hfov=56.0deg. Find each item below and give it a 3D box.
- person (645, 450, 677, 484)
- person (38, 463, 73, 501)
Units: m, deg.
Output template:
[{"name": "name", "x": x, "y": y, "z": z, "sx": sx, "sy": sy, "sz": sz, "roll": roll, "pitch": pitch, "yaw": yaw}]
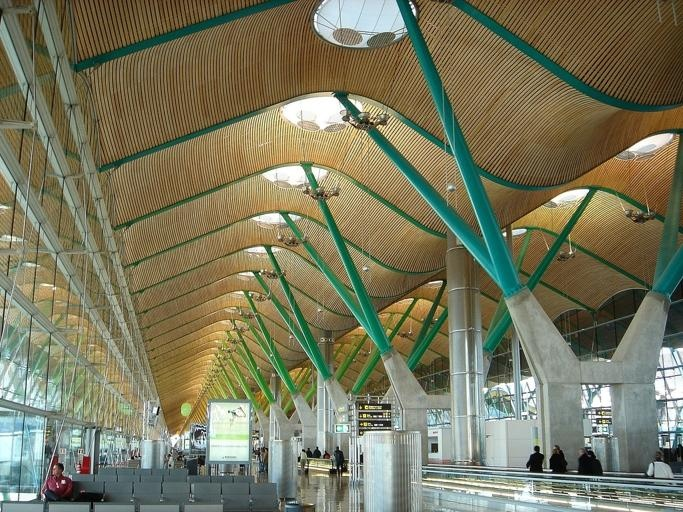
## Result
[{"name": "person", "x": 8.556, "y": 5.617, "z": 17.353, "sx": 0.524, "sy": 0.753, "sz": 0.796, "roll": -8, "pitch": -23, "yaw": 20}, {"name": "person", "x": -7.251, "y": 5.800, "z": 16.249, "sx": 0.681, "sy": 1.187, "sz": 0.594, "roll": -4, "pitch": -31, "yaw": -14}]
